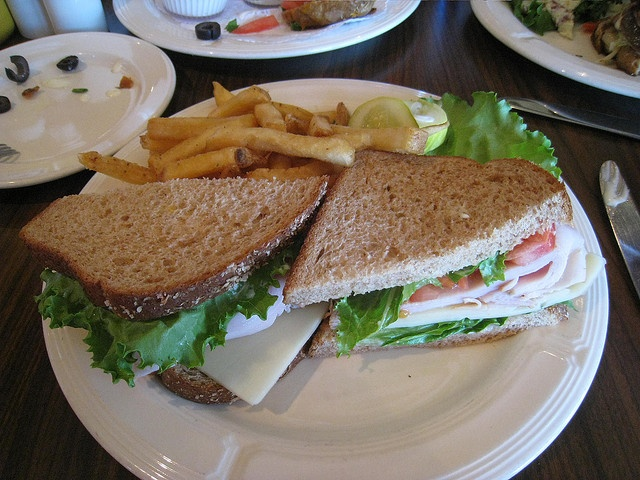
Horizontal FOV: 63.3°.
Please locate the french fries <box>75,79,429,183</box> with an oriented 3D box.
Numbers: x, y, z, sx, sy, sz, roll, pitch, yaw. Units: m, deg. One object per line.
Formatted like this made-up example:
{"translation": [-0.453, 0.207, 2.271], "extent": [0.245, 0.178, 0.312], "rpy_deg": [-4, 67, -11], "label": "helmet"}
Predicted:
{"translation": [-0.281, -0.467, 2.454], "extent": [1.328, 0.284, 0.677], "rpy_deg": [-1, 47, 1], "label": "french fries"}
